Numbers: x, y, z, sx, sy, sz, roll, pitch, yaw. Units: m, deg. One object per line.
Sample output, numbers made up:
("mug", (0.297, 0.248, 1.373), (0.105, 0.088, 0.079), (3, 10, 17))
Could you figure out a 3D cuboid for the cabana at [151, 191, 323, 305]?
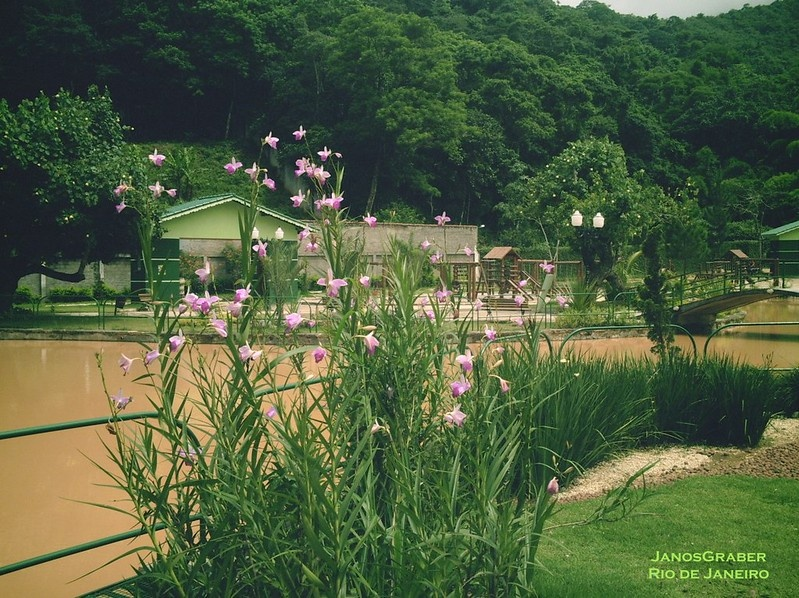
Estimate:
("cabana", (-9.972, -3.994, 62.426), (7.232, 7.516, 4.343), (-3, 4, -42))
